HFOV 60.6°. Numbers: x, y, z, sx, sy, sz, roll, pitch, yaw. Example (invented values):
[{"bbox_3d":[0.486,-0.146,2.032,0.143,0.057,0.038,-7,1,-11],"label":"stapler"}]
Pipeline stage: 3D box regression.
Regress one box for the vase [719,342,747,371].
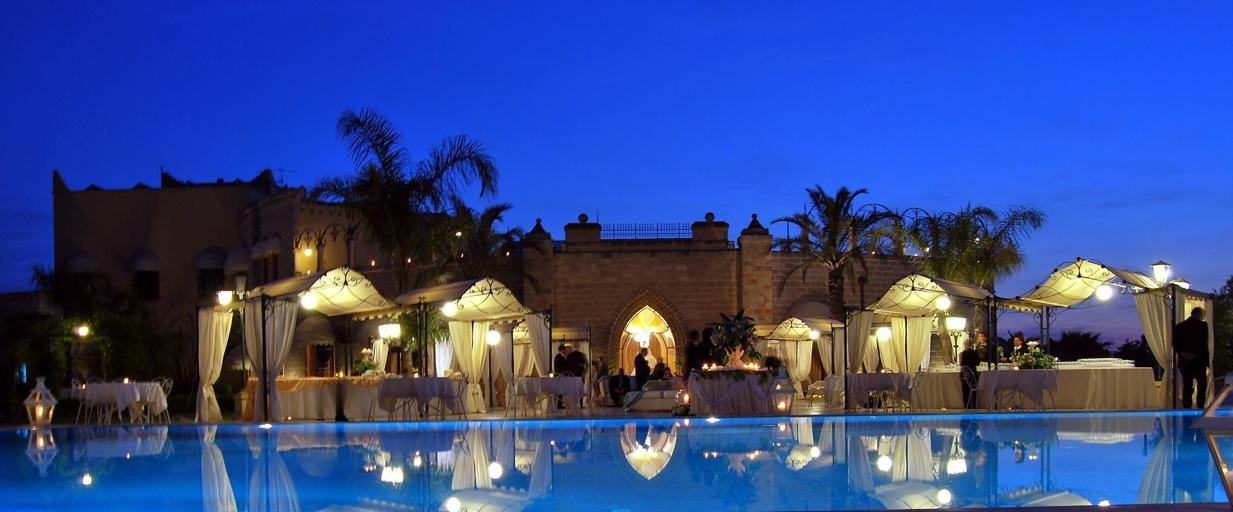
[{"bbox_3d":[5.970,5.132,53.249,1.021,1.219,0.427,-3,-9,-2],"label":"vase"}]
